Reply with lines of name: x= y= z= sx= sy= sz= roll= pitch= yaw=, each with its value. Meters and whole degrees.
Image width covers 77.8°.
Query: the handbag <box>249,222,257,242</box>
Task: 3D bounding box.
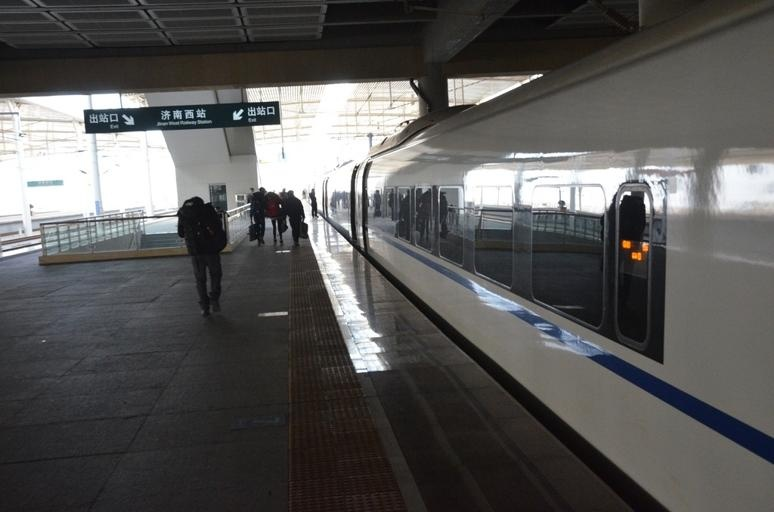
handbag: x=-4.576 y=-0.793 z=16.297 sx=0.277 sy=0.511 sz=0.467 roll=-4 pitch=10 yaw=-5

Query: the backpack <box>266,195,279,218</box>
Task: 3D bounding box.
backpack: x=-3.781 y=-1.650 z=15.840 sx=0.453 sy=0.824 sz=0.395 roll=-6 pitch=10 yaw=-14

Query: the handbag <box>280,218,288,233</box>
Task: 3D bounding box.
handbag: x=-3.647 y=-1.053 z=16.734 sx=0.152 sy=0.437 sz=0.313 roll=-5 pitch=-10 yaw=8

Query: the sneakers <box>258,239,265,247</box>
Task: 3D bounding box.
sneakers: x=-4.445 y=-0.444 z=16.931 sx=0.127 sy=0.288 sz=0.208 roll=-6 pitch=-10 yaw=-34

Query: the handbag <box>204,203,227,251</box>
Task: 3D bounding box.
handbag: x=-2.848 y=-0.441 z=7.990 sx=0.276 sy=0.883 sz=0.794 roll=-7 pitch=11 yaw=-20
